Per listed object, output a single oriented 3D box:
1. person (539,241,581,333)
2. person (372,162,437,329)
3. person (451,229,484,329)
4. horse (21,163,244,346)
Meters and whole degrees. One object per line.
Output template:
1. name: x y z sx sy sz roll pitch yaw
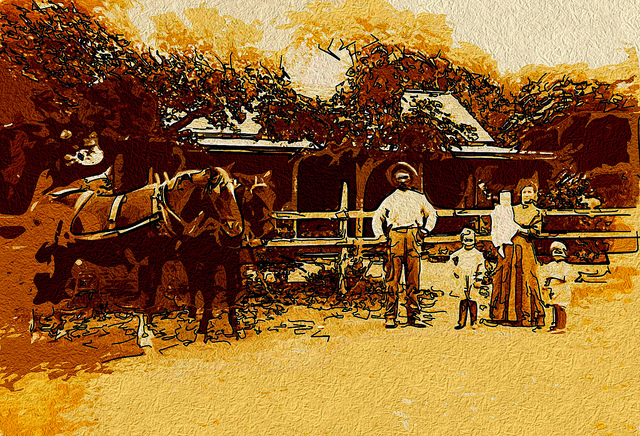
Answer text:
1. person: 3.651 1.048 12.315 0.527 1.381 0.877 -5 -6 25
2. person: 1.239 0.489 11.818 0.911 2.281 0.481 -2 -6 2
3. person: 2.222 0.930 12.087 0.519 1.459 0.806 -3 -6 8
4. horse: -2.759 0.481 11.879 3.614 2.501 1.171 0 -3 6
